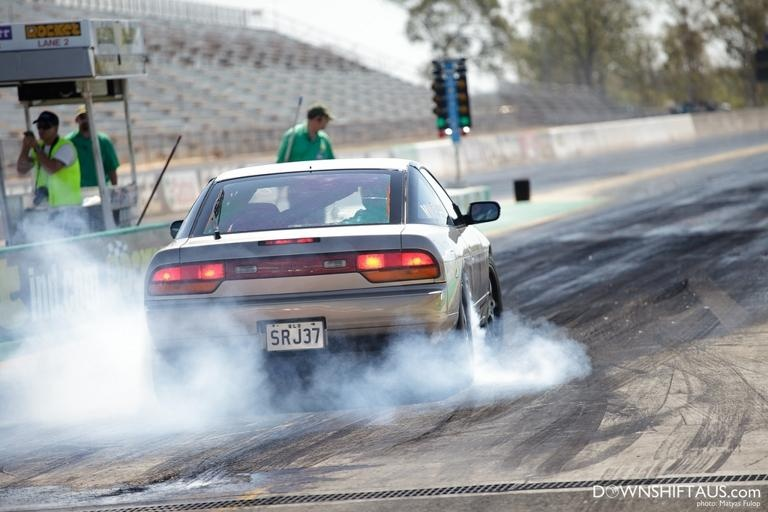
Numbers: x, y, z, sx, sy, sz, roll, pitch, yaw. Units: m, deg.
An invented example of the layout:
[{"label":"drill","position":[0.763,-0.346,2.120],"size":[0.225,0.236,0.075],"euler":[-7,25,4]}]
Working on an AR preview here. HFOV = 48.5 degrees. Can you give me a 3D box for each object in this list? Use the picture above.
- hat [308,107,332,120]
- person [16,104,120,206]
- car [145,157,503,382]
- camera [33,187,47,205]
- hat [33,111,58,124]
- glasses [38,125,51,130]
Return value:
[{"label":"hat","position":[-0.886,-1.939,11.570],"size":[0.220,0.081,0.158],"euler":[6,1,-7]},{"label":"person","position":[-4.047,-1.295,10.991],"size":[1.152,1.216,0.973],"euler":[-10,11,-35]},{"label":"car","position":[-0.490,0.149,7.031],"size":[2.833,1.775,1.558],"euler":[-5,9,-7]},{"label":"camera","position":[-4.387,-0.773,10.867],"size":[0.130,0.250,0.092],"euler":[21,1,7]},{"label":"hat","position":[-4.188,-1.721,10.559],"size":[0.225,0.147,0.357],"euler":[-8,11,-28]},{"label":"glasses","position":[-4.201,-1.588,10.463],"size":[0.187,0.053,0.084],"euler":[3,12,34]}]
